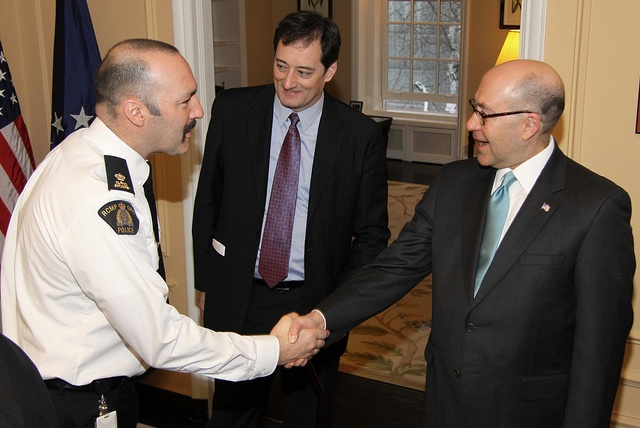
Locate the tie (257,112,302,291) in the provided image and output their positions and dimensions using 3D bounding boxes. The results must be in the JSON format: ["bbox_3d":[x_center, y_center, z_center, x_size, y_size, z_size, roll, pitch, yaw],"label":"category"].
[{"bbox_3d":[-0.170,-0.088,2.614,0.143,0.954,0.116,11,-5,5],"label":"tie"}]
